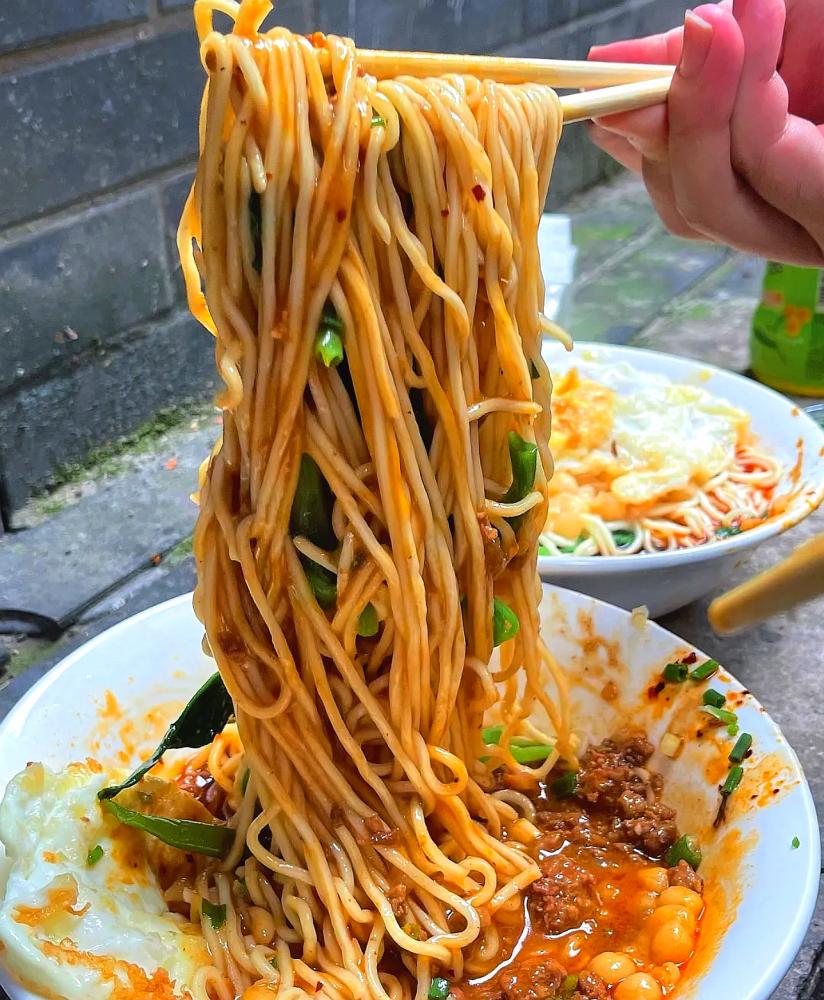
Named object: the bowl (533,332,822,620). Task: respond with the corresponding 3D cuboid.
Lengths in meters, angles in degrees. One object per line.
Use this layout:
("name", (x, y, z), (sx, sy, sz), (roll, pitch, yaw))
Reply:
("bowl", (0.736, -0.083, 2.749), (0.702, 0.289, 0.706), (-1, 39, 1))
